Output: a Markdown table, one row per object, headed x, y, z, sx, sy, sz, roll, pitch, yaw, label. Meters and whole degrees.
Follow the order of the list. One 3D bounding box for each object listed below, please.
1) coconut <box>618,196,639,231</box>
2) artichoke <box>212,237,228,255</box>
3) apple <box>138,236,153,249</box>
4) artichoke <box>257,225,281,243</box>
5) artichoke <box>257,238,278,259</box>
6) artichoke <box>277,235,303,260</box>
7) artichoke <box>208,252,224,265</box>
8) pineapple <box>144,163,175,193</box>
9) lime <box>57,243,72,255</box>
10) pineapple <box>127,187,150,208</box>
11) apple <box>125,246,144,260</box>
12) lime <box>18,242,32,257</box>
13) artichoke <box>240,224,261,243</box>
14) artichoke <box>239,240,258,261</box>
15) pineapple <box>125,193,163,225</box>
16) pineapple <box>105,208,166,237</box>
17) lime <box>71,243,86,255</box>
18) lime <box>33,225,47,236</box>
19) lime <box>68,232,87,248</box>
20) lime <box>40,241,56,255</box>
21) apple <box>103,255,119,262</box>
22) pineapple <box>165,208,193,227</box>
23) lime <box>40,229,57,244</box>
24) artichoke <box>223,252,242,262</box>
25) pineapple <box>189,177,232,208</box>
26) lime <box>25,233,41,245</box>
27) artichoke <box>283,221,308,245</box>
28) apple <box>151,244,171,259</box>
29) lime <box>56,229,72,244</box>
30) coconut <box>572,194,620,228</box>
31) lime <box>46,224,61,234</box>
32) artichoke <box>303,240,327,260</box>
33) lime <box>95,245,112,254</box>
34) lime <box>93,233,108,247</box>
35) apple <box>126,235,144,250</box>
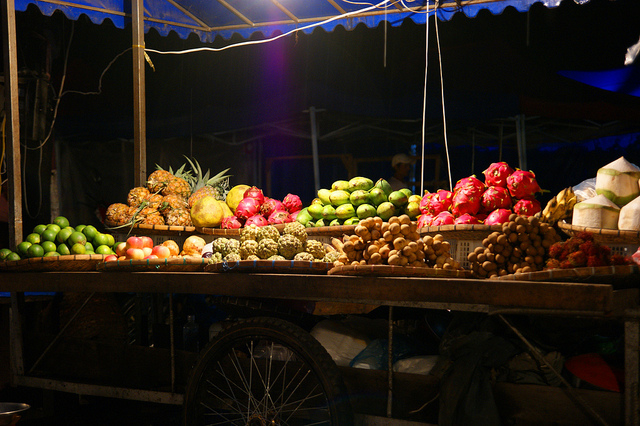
| x | y | z | sx | sy | sz | roll | pitch | yaw | label |
| --- | --- | --- | --- | --- | --- | --- | --- | --- | --- |
| 2.363 | 0.026 | 4.609 | 0.210 | 0.238 | 0.212 | -2 | 0 | 24 | coconut |
| -0.802 | 0.255 | 4.774 | 0.113 | 0.127 | 0.101 | 21 | -4 | -11 | artichoke |
| -1.559 | 0.266 | 5.329 | 0.093 | 0.093 | 0.090 | -5 | -8 | -13 | apple |
| -0.402 | 0.166 | 4.639 | 0.124 | 0.150 | 0.148 | 6 | -14 | -2 | artichoke |
| -0.404 | 0.278 | 4.578 | 0.133 | 0.149 | 0.149 | 3 | -3 | -9 | artichoke |
| -0.229 | 0.253 | 4.548 | 0.163 | 0.182 | 0.185 | -2 | -4 | 39 | artichoke |
| -0.810 | 0.354 | 4.629 | 0.079 | 0.040 | 0.071 | -5 | -13 | -46 | artichoke |
| -1.643 | -0.368 | 6.126 | 0.263 | 0.284 | 0.344 | -13 | 22 | 6 | pineapple |
| -2.300 | 0.334 | 5.387 | 0.080 | 0.097 | 0.113 | 44 | 20 | 16 | lime |
| -1.831 | -0.158 | 6.000 | 0.211 | 0.208 | 0.175 | -10 | 8 | -18 | pineapple |
| -1.605 | 0.341 | 5.159 | 0.168 | 0.094 | 0.121 | 1 | 1 | 32 | apple |
| -2.663 | 0.322 | 5.320 | 0.116 | 0.135 | 0.115 | -16 | 8 | -25 | lime |
| -0.546 | 0.164 | 4.678 | 0.117 | 0.126 | 0.140 | -17 | 1 | -20 | artichoke |
| -0.550 | 0.290 | 4.612 | 0.122 | 0.142 | 0.141 | 3 | -15 | 0 | artichoke |
| -1.671 | -0.075 | 5.887 | 0.485 | 0.143 | 0.143 | -35 | 2 | -39 | pineapple |
| -1.741 | 0.067 | 5.741 | 0.463 | 0.228 | 0.159 | 1 | 1 | -17 | pineapple |
| -2.167 | 0.317 | 5.359 | 0.092 | 0.111 | 0.093 | 11 | 28 | 34 | lime |
| -2.627 | 0.152 | 5.553 | 0.106 | 0.059 | 0.105 | -13 | -3 | -33 | lime |
| -2.211 | 0.232 | 5.402 | 0.143 | 0.124 | 0.120 | 7 | -27 | 4 | lime |
| -2.438 | 0.322 | 5.362 | 0.102 | 0.120 | 0.104 | -14 | -19 | 25 | lime |
| -1.709 | 0.369 | 4.859 | 0.065 | 0.062 | 0.064 | -17 | 16 | -34 | apple |
| -1.386 | 0.038 | 5.831 | 0.221 | 0.170 | 0.209 | 0 | 1 | -30 | pineapple |
| -2.483 | 0.212 | 5.445 | 0.122 | 0.138 | 0.116 | -5 | -12 | -13 | lime |
| -0.661 | 0.342 | 4.587 | 0.083 | 0.049 | 0.073 | -5 | -12 | 40 | artichoke |
| -1.105 | -0.190 | 6.109 | 0.481 | 0.274 | 0.378 | 0 | 1 | -32 | pineapple |
| -2.621 | 0.224 | 5.439 | 0.095 | 0.096 | 0.110 | -32 | 38 | 1 | lime |
| -0.172 | 0.160 | 4.670 | 0.145 | 0.165 | 0.166 | 1 | -14 | 19 | artichoke |
| -1.387 | 0.338 | 5.126 | 0.153 | 0.150 | 0.155 | 1 | -5 | 17 | apple |
| -2.357 | 0.226 | 5.495 | 0.108 | 0.130 | 0.113 | -34 | -22 | 35 | lime |
| 2.152 | -0.022 | 4.604 | 0.268 | 0.199 | 0.268 | -1 | 5 | -10 | coconut |
| -2.464 | 0.149 | 5.488 | 0.069 | 0.050 | 0.090 | -5 | -19 | 16 | lime |
| -0.021 | 0.286 | 4.608 | 0.135 | 0.132 | 0.152 | 8 | -3 | -34 | artichoke |
| -2.000 | 0.335 | 5.482 | 0.147 | 0.071 | 0.110 | 1 | 1 | -22 | lime |
| -2.039 | 0.251 | 5.531 | 0.124 | 0.125 | 0.116 | 4 | 19 | -9 | lime |
| -1.627 | 0.257 | 5.226 | 0.115 | 0.134 | 0.115 | -11 | 5 | -18 | apple |
